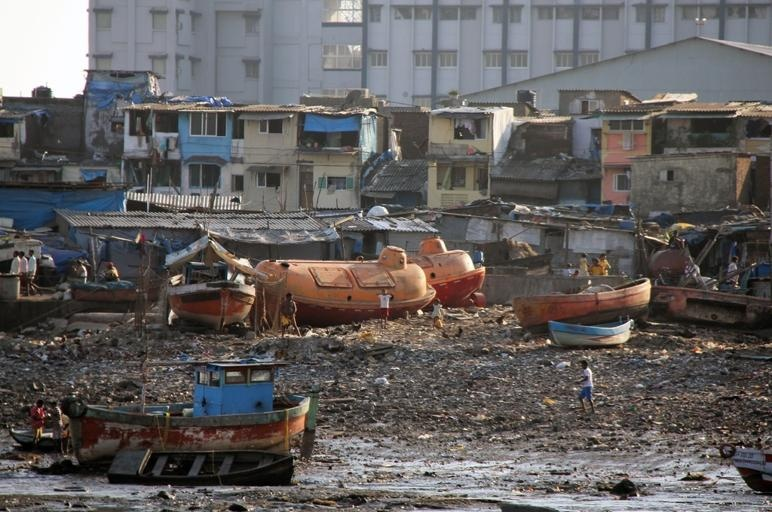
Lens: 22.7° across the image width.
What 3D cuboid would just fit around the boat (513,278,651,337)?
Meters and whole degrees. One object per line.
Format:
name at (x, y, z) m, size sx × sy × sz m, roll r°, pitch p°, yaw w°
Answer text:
boat at (9.348, 2.444, 94.043) m, size 8.739 × 1.936 × 2.388 m, roll -7°, pitch -7°, yaw -14°

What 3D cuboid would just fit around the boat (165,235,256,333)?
boat at (-8.764, 1.076, 95.905) m, size 4.327 × 4.599 × 6.085 m, roll -1°, pitch 4°, yaw -7°

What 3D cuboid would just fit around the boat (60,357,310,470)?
boat at (-8.456, 9.309, 84.888) m, size 12.379 × 4.223 × 4.603 m, roll -1°, pitch -8°, yaw -8°

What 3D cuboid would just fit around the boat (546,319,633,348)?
boat at (9.627, 4.304, 92.022) m, size 4.215 × 1.106 × 1.263 m, roll 2°, pitch -9°, yaw -12°

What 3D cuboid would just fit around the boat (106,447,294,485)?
boat at (-7.704, 9.089, 82.411) m, size 7.706 × 1.179 × 2.532 m, roll 0°, pitch 20°, yaw -1°
